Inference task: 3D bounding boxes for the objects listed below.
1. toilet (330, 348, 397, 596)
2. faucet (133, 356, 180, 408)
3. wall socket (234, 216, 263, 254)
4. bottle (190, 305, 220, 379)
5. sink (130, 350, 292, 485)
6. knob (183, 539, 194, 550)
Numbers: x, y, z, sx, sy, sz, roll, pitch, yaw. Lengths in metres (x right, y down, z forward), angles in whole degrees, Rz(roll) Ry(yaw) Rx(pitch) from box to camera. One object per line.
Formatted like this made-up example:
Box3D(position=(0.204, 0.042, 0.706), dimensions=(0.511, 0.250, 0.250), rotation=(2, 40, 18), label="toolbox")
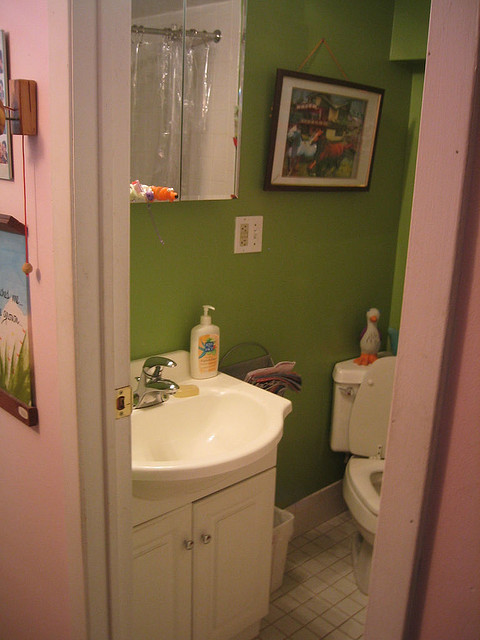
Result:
Box3D(position=(0.470, 0.574, 2.249), dimensions=(0.265, 0.841, 0.710), rotation=(9, 19, 15), label="toilet")
Box3D(position=(-0.250, 0.177, 1.515), dimensions=(0.148, 0.130, 0.090), rotation=(3, 5, 45), label="faucet")
Box3D(position=(0.025, -0.298, 1.835), dimensions=(0.109, 0.125, 0.012), rotation=(-11, 18, -43), label="wall socket")
Box3D(position=(-0.110, 0.073, 1.688), dimensions=(0.086, 0.226, 0.061), rotation=(1, 17, -10), label="bottle")
Box3D(position=(-0.074, 0.253, 1.464), dimensions=(0.433, 0.229, 0.608), rotation=(1, 20, -14), label="sink")
Box3D(position=(-0.132, 0.582, 1.385), dimensions=(0.020, 0.029, 0.021), rotation=(-4, 17, -29), label="knob")
